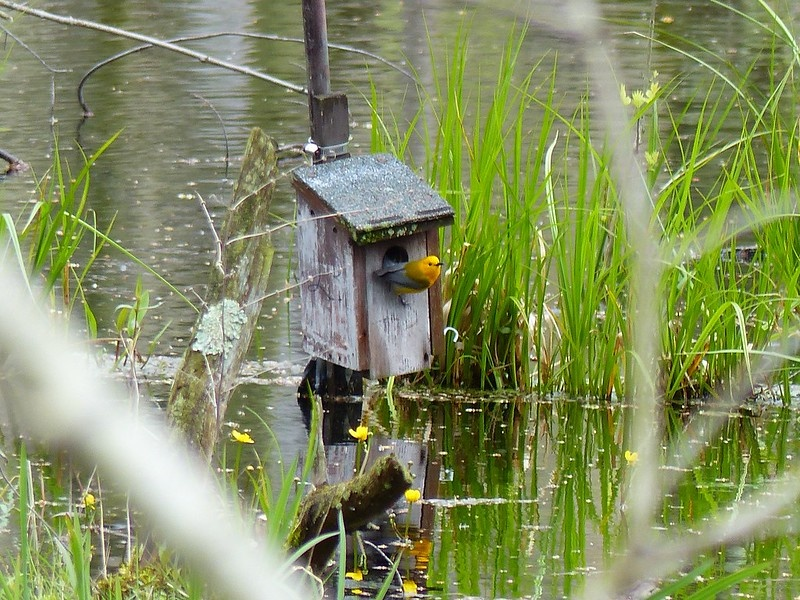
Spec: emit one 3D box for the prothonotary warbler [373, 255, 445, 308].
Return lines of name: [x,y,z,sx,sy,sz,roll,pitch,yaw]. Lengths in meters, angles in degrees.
prothonotary warbler: [0.045,-0.139,5.997,0.281,0.300,0.159,22,37,7]

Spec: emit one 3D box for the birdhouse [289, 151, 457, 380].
birdhouse: [-0.114,-0.143,6.209,0.543,0.961,0.551,-12,17,-33]
